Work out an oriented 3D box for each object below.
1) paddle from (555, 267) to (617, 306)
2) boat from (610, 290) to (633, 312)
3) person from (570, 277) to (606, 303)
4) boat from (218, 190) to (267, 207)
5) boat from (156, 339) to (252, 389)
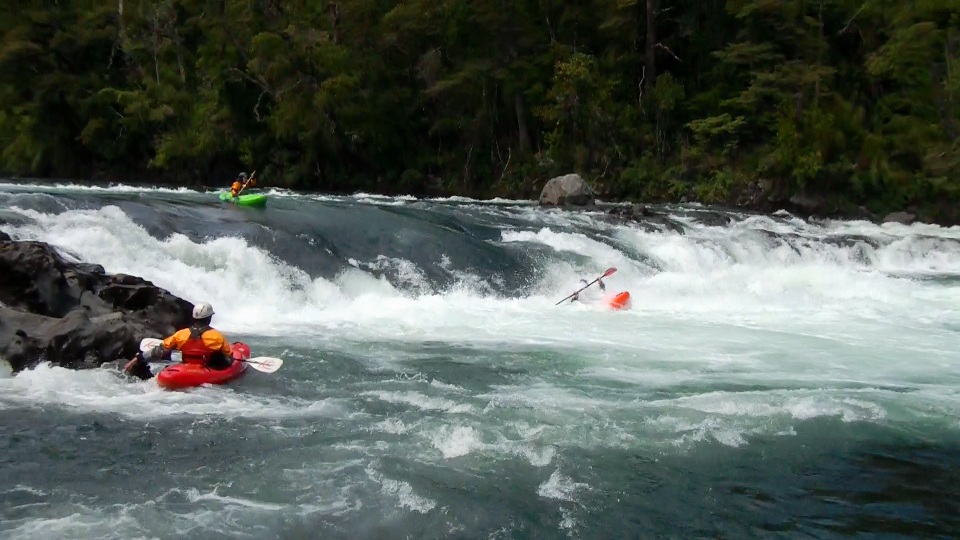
[{"bbox_3d":[3.369,0.559,25.986,1.970,0.223,0.143,-37,5,-13],"label":"paddle"},{"bbox_3d":[4.391,0.984,25.168,0.558,0.568,0.237,35,-18,32],"label":"boat"},{"bbox_3d":[3.423,0.594,25.803,1.396,0.886,0.887,2,3,-15],"label":"person"},{"bbox_3d":[-8.502,-2.563,28.723,1.871,0.545,0.712,5,3,40],"label":"boat"},{"bbox_3d":[-6.926,2.588,20.528,1.074,0.601,1.953,25,30,36],"label":"boat"}]
